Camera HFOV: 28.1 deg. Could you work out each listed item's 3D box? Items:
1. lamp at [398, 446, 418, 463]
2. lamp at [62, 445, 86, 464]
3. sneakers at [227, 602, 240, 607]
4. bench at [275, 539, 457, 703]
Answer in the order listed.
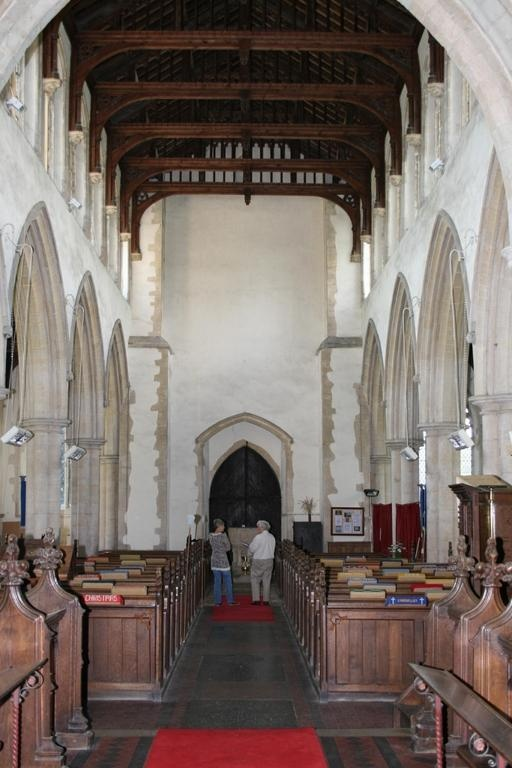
[{"bbox_3d":[2.191,1.022,14.756,0.127,0.175,0.226,-41,-15,0],"label":"lamp"},{"bbox_3d":[-2.427,1.005,13.798,0.311,0.141,0.365,-47,13,-29],"label":"lamp"},{"bbox_3d":[-0.300,2.923,13.645,0.160,0.084,0.063,-2,-1,0],"label":"sneakers"},{"bbox_3d":[0.818,1.889,8.379,0.860,0.632,1.756,1,-1,2],"label":"bench"}]
